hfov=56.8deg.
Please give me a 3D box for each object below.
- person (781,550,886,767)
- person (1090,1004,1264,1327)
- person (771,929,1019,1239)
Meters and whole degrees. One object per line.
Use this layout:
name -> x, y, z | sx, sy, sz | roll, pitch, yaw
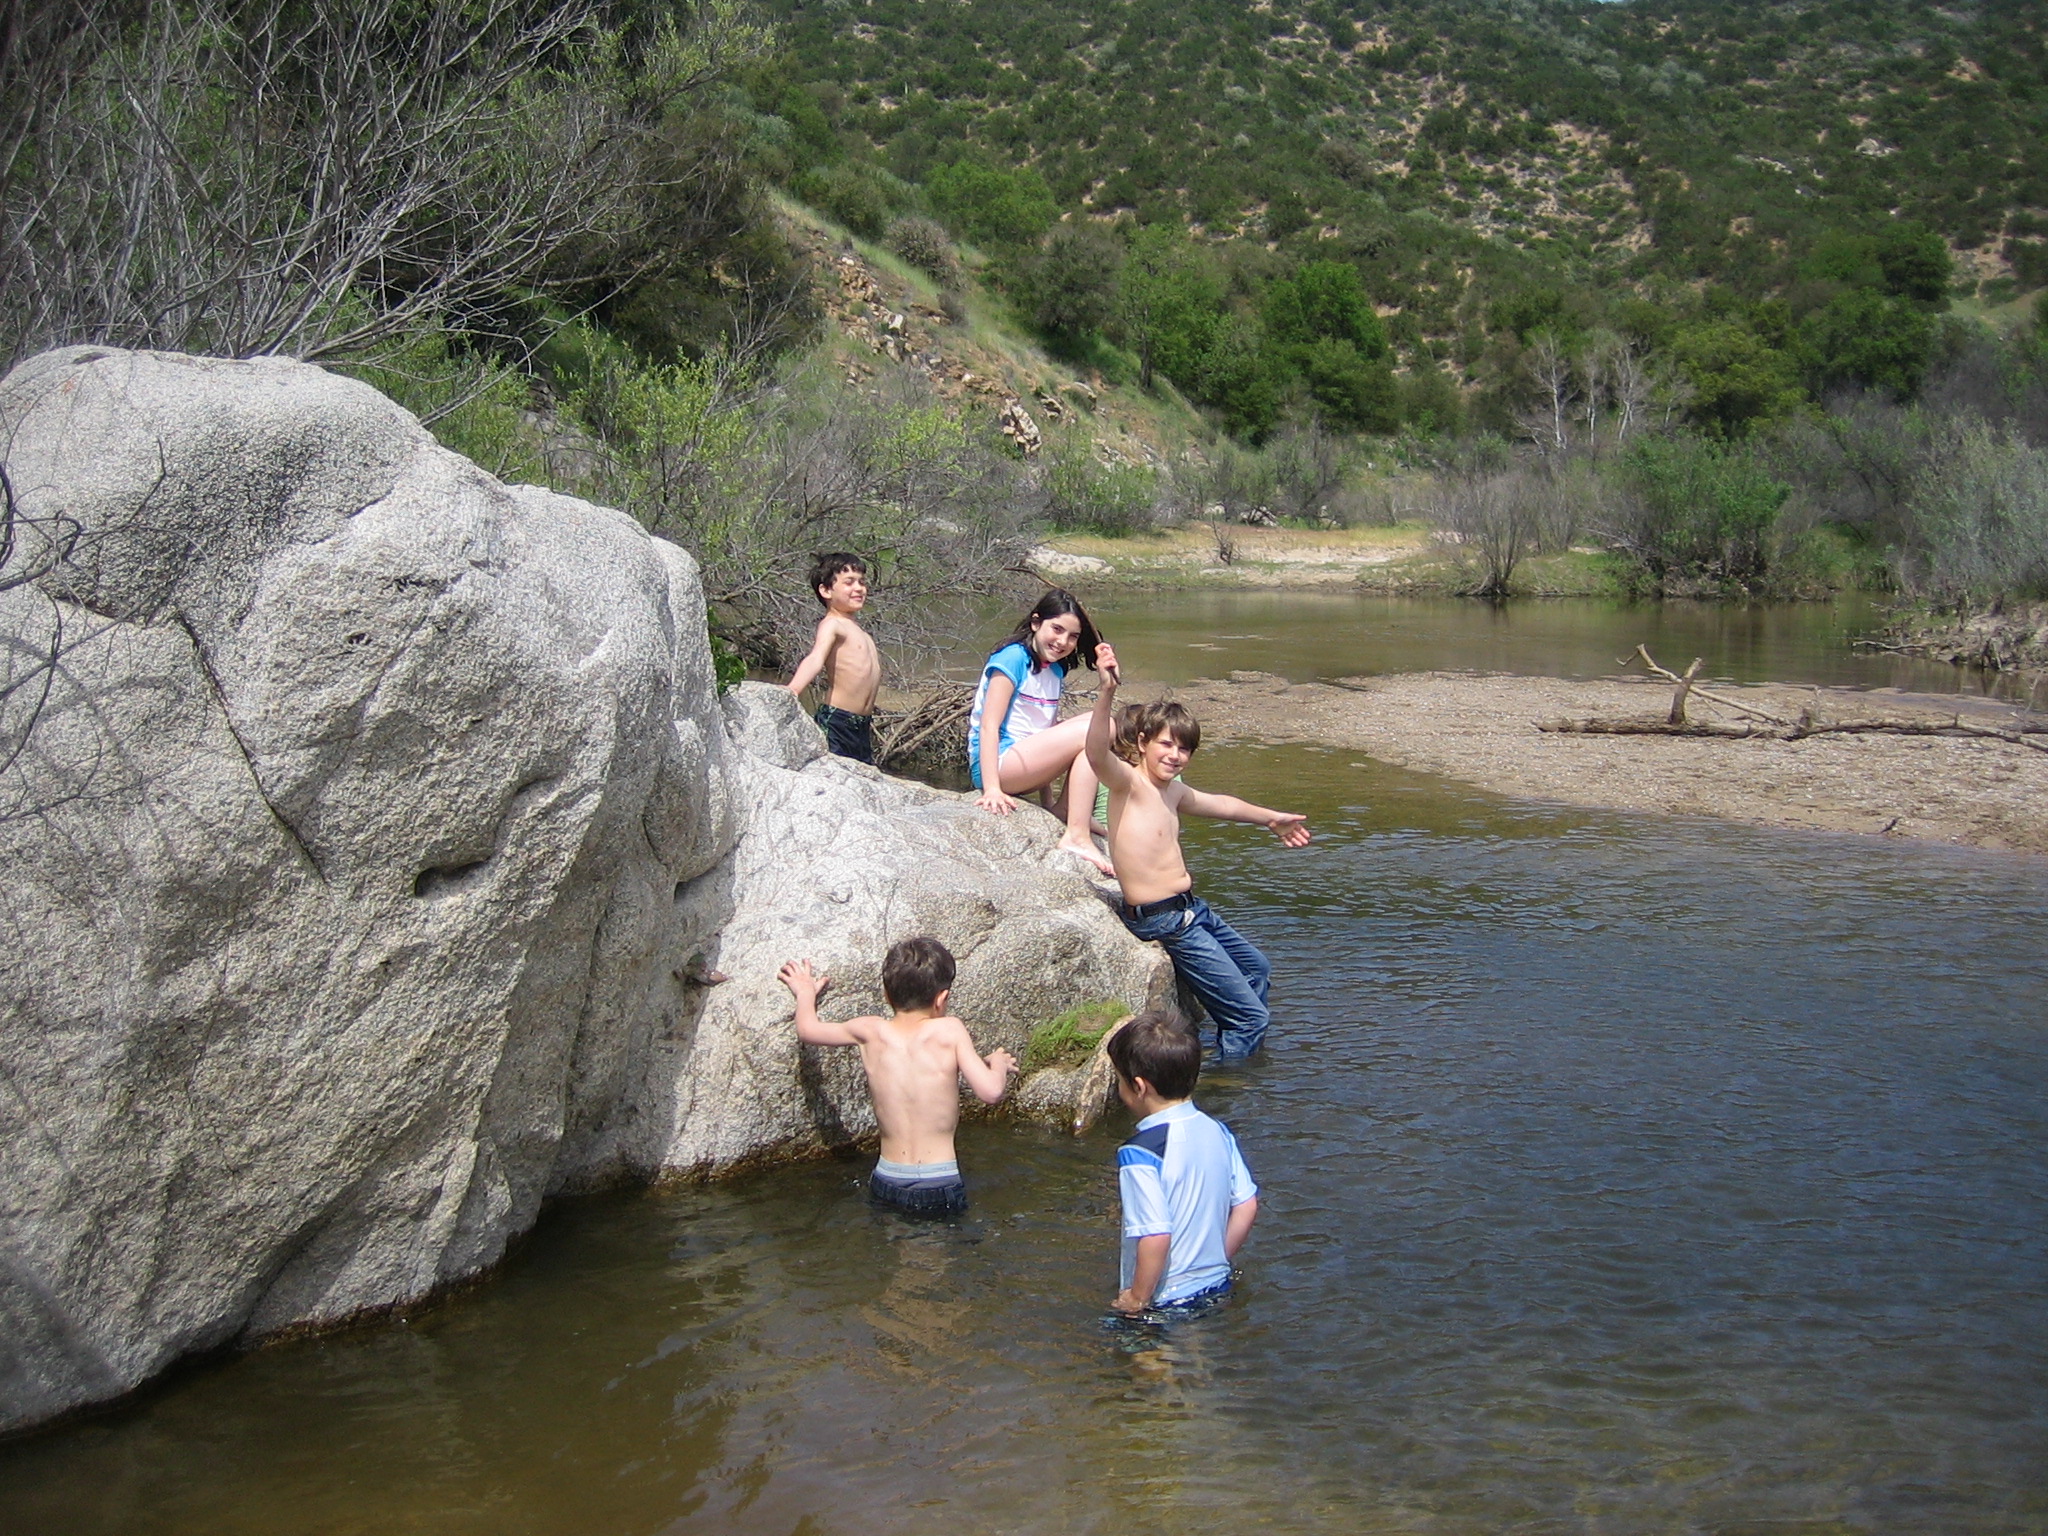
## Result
person -> -0.999, -0.561, 10.048 | 0.437, 1.161, 1.408 | -1, 9, -6
person -> 0.571, 1.387, 6.774 | 0.495, 0.976, 0.549 | 1, 9, 3
person -> -0.503, 1.172, 7.446 | 0.828, 0.970, 0.653 | 1, 9, 8
